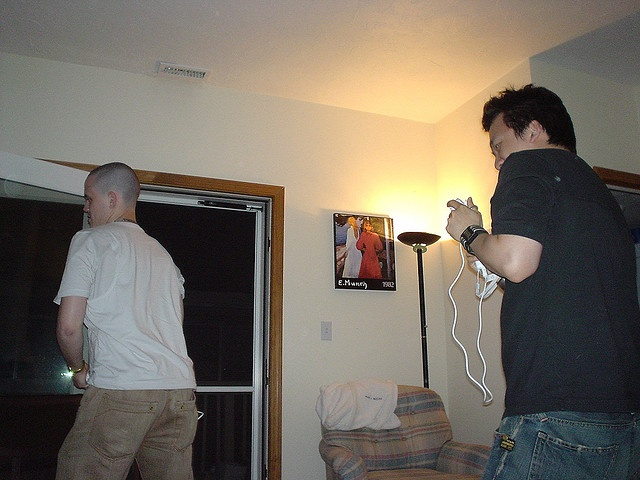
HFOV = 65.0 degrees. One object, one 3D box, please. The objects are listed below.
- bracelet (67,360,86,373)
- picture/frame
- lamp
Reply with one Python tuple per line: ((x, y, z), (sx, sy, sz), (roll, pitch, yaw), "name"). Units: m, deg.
((-1.051, 0.551, 2.174), (0.066, 0.020, 0.065), (-1, -4, -3), "bracelet")
((0.304, 0.112, 3.682), (0.544, 0.619, 0.059), (4, -15, -21), "picture/frame")
((0.722, 0.505, 3.696), (0.295, 1.113, 0.399), (0, -5, 8), "lamp")
